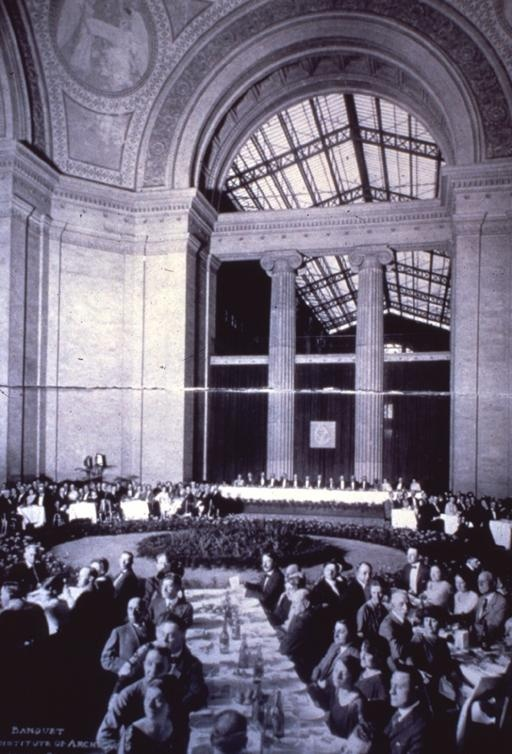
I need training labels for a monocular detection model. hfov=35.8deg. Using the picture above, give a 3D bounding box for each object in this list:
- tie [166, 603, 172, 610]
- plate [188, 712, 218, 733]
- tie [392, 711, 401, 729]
[{"bbox_3d":[-1.013,2.694,9.315,0.050,0.084,0.022,-1,-10,2],"label":"tie"},{"bbox_3d":[-0.557,3.584,8.288,0.195,0.152,0.121,3,-18,-8],"label":"plate"},{"bbox_3d":[1.365,3.337,7.742,0.101,0.134,0.060,-3,-6,25],"label":"tie"}]
